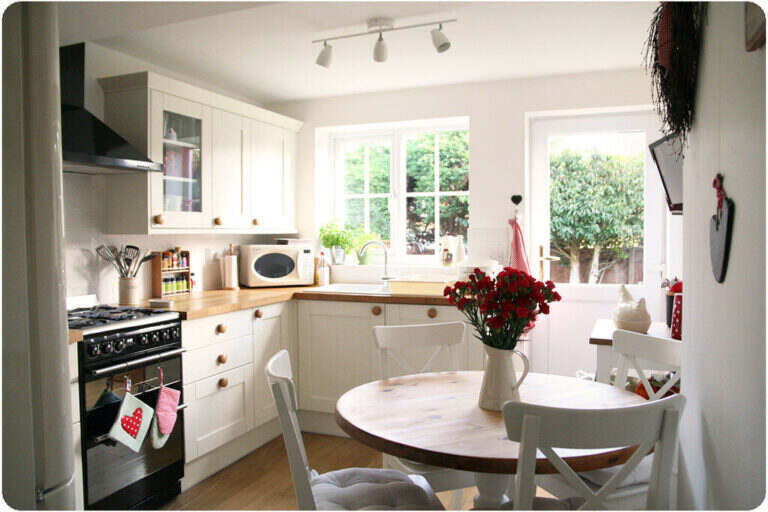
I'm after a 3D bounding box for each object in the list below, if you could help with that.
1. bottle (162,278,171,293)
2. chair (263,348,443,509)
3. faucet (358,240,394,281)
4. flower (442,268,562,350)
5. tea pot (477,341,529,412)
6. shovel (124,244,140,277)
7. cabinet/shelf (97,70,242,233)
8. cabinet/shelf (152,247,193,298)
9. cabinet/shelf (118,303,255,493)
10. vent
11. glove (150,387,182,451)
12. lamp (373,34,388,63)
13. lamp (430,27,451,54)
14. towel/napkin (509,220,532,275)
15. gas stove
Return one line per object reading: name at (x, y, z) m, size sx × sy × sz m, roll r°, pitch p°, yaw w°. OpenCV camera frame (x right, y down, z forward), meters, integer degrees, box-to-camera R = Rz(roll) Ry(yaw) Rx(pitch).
bottle at (-1.612, 0.219, 3.749) m, size 0.021 × 0.109 × 0.080 m, roll 1°, pitch 3°, yaw 23°
chair at (-0.088, 0.705, 2.577) m, size 0.808 × 1.104 × 0.637 m, roll -5°, pitch 3°, yaw -5°
faucet at (-0.092, 0.036, 4.488) m, size 0.289 × 0.358 × 0.696 m, roll -1°, pitch 3°, yaw -3°
flower at (0.536, 0.191, 2.210) m, size 0.402 × 0.272 × 0.397 m, roll -1°, pitch 0°, yaw 9°
tea pot at (0.489, 0.511, 2.151) m, size 0.298 × 0.277 × 0.198 m, roll 0°, pitch -1°, yaw 15°
shovel at (-1.740, 0.030, 3.504) m, size 0.111 × 0.214 × 0.357 m, roll -2°, pitch 3°, yaw -26°
cabinet/shelf at (-1.510, -0.704, 3.501) m, size 0.443 × 1.146 × 1.263 m, roll -2°, pitch -3°, yaw 18°
cabinet/shelf at (-1.598, 0.124, 3.793) m, size 0.121 × 0.409 × 0.377 m, roll -2°, pitch -2°, yaw 20°
cabinet/shelf at (-1.548, 0.797, 3.374) m, size 0.876 × 1.244 × 0.892 m, roll -2°, pitch -1°, yaw 28°
vent at (-1.730, -0.905, 3.223) m, size 0.527 × 0.608 × 0.494 m, roll -12°, pitch 30°, yaw -24°
glove at (-1.267, 0.939, 2.934) m, size 0.054 × 0.306 × 0.191 m, roll -4°, pitch -16°, yaw 30°
lamp at (-0.029, -1.356, 3.314) m, size 0.071 × 0.186 × 0.215 m, roll -1°, pitch 3°, yaw -2°
lamp at (0.349, -1.369, 3.217) m, size 0.105 × 0.183 × 0.256 m, roll -1°, pitch 3°, yaw 6°
towel/napkin at (1.085, -0.090, 4.092) m, size 0.157 × 0.451 × 0.343 m, roll 0°, pitch 3°, yaw 14°
gas stove at (-1.628, 0.412, 2.993) m, size 0.567 × 0.224 × 0.565 m, roll 9°, pitch 7°, yaw 34°
